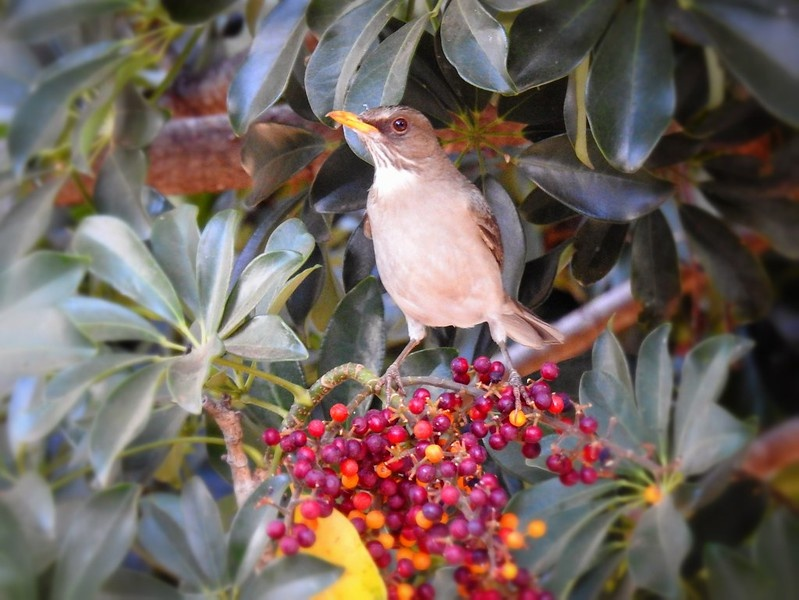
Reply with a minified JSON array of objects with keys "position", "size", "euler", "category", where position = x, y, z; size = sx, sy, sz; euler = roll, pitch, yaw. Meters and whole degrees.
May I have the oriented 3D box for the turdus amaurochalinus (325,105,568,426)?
[{"position":[0.177,-0.124,2.487],"size":[0.394,0.814,0.743],"euler":[1,10,40],"category":"turdus amaurochalinus"}]
